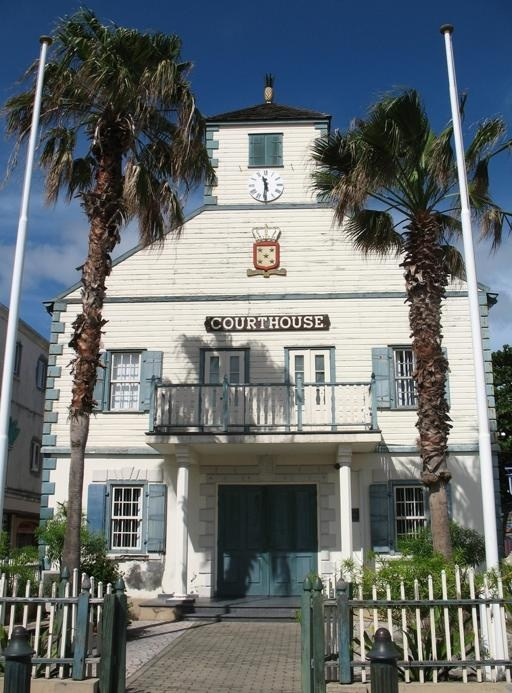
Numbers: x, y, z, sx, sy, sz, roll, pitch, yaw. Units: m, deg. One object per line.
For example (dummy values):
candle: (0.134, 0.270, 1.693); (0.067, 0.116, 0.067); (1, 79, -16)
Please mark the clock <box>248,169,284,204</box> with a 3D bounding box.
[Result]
clock: (0.279, -4.036, 15.803); (0.941, 1.121, 0.121); (0, -26, 1)
